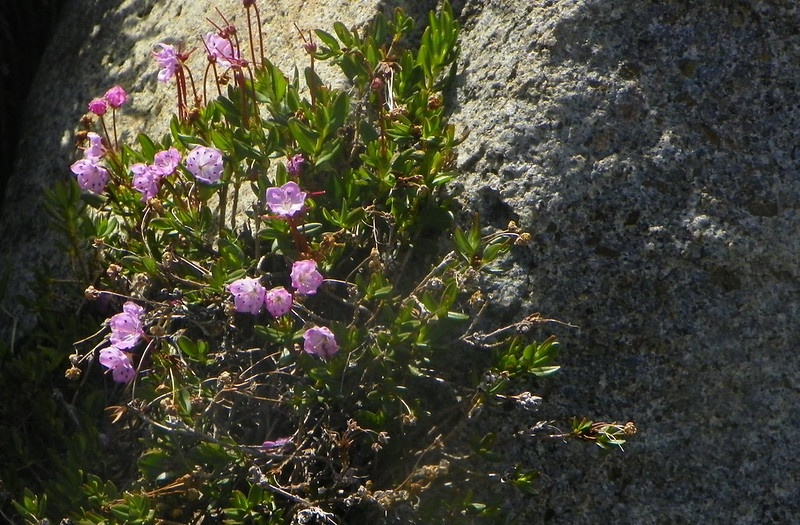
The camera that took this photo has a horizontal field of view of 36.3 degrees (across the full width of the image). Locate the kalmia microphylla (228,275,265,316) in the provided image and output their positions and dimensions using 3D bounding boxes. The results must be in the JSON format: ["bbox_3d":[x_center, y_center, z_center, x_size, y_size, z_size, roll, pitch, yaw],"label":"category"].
[{"bbox_3d":[-0.757,0.158,6.054,0.152,0.184,0.093,-19,10,3],"label":"kalmia microphylla"}]

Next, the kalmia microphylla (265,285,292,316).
[{"bbox_3d":[-0.596,0.201,6.031,0.126,0.134,0.053,1,-2,-4],"label":"kalmia microphylla"}]

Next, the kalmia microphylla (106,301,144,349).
[{"bbox_3d":[-1.365,0.317,6.086,0.091,0.175,0.220,12,45,-26],"label":"kalmia microphylla"}]

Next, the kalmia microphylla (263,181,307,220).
[{"bbox_3d":[-0.563,-0.296,6.080,0.182,0.167,0.178,-27,27,-18],"label":"kalmia microphylla"}]
